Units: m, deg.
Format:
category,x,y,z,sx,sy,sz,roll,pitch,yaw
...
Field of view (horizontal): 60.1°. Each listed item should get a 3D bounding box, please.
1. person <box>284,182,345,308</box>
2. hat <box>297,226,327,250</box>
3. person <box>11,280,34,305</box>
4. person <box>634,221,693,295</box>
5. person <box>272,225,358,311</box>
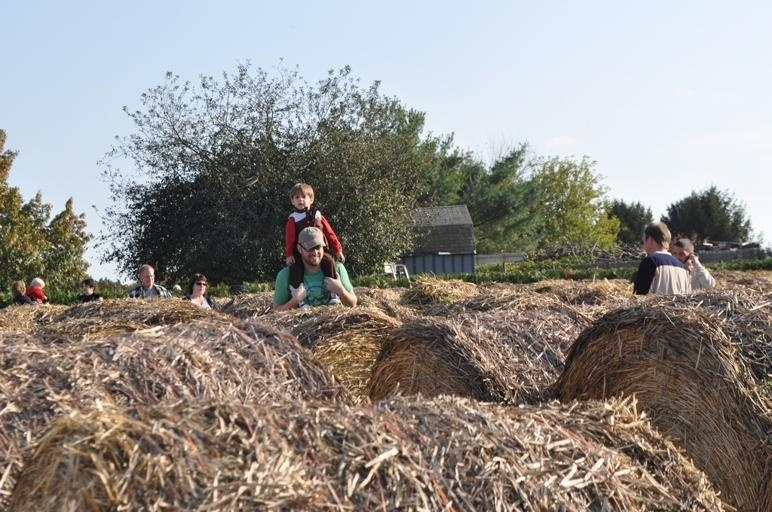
category,x,y,z,sx,sy,sz,roll,pitch,yaw
person,-1.017,-0.141,9.734,0.730,1.957,0.475,-4,25,1
hat,-0.765,-0.179,6.954,0.303,0.234,0.263,4,5,-25
person,-8.217,0.832,14.999,0.411,0.495,1.182,3,6,-30
person,3.013,0.026,7.257,0.495,0.810,0.463,-13,27,2
person,-0.784,0.161,7.103,0.860,1.042,0.842,-14,-14,35
